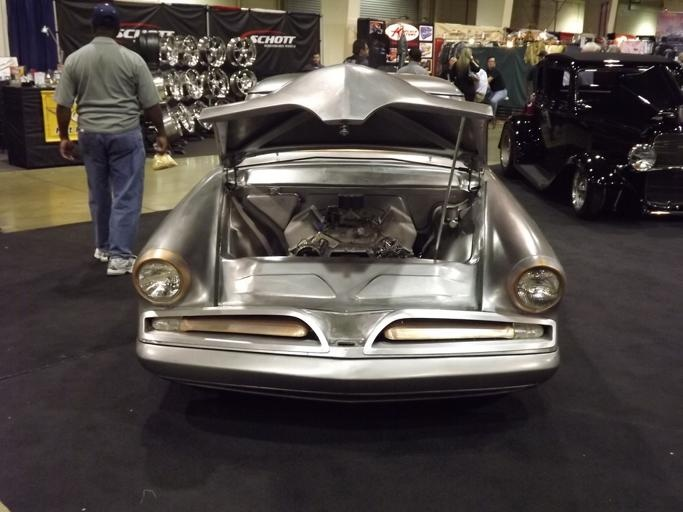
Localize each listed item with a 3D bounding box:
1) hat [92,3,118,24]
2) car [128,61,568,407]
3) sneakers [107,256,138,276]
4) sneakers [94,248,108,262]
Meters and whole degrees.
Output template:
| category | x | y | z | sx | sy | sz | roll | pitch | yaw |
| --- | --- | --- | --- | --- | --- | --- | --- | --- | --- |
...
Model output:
| category | x | y | z | sx | sy | sz | roll | pitch | yaw |
| --- | --- | --- | --- | --- | --- | --- | --- | --- | --- |
| hat | -1.871 | -1.923 | 3.833 | 0.203 | 0.139 | 0.135 | -9 | 22 | -29 |
| car | 0.062 | -0.320 | 3.182 | 1.476 | 1.192 | 2.761 | 1 | 26 | 2 |
| sneakers | -1.723 | 0.078 | 3.779 | 0.279 | 0.147 | 0.112 | -8 | 12 | -27 |
| sneakers | -2.149 | -0.001 | 4.313 | 0.166 | 0.077 | 0.084 | -2 | 18 | -6 |
